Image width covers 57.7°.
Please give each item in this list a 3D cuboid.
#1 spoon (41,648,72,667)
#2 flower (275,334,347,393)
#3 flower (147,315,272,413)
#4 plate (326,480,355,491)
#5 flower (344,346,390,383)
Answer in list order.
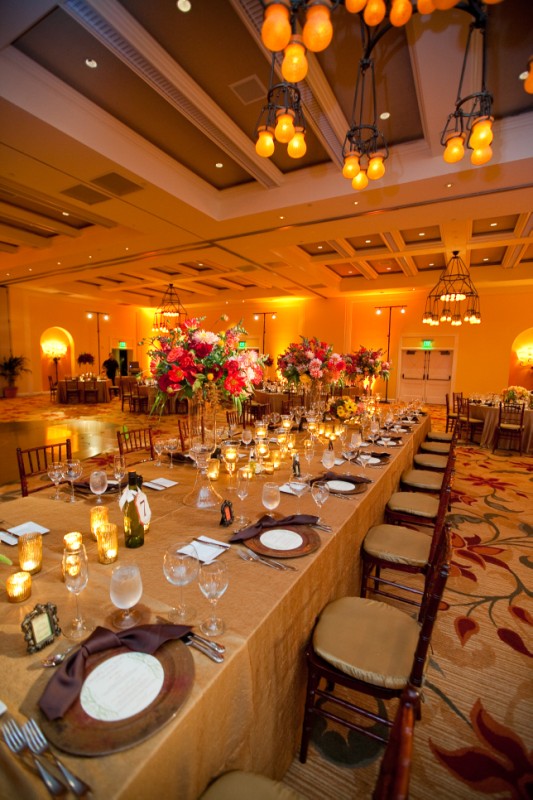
[{"bbox_3d":[-0.509,0.627,1.161,0.032,0.010,0.055,1,24,37],"label":"spoon"},{"bbox_3d":[0.372,-0.275,3.868,0.462,0.407,0.437,-1,-1,1],"label":"flower"},{"bbox_3d":[-0.308,-0.189,2.313,0.444,0.458,0.439,0,11,-40],"label":"flower"},{"bbox_3d":[0.379,0.437,2.399,0.110,0.012,0.114,0,13,11],"label":"plate"},{"bbox_3d":[0.954,-0.320,4.630,0.451,0.416,0.470,1,8,17],"label":"flower"}]
